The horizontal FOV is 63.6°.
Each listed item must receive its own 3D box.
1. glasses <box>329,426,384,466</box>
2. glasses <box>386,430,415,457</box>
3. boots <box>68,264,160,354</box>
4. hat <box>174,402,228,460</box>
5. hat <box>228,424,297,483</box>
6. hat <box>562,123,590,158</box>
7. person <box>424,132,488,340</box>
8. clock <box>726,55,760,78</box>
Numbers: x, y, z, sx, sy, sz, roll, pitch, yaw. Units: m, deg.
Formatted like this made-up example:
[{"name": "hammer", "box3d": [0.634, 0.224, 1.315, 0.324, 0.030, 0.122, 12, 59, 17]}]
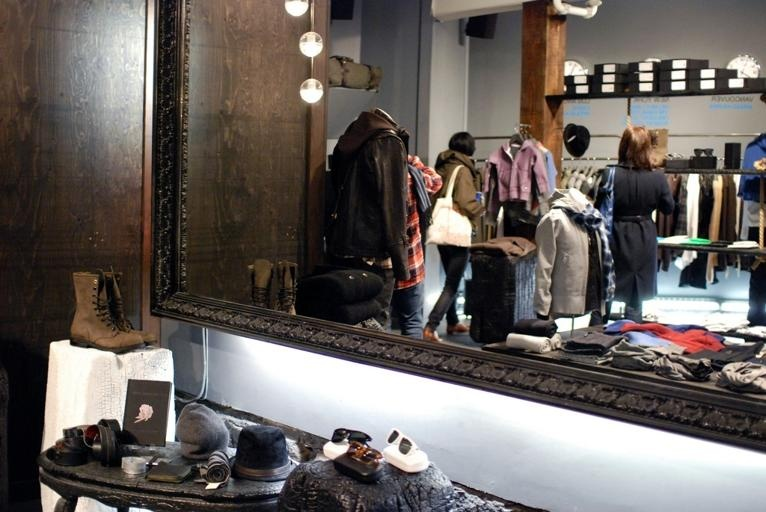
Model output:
[{"name": "glasses", "box3d": [-0.090, 0.664, 2.174, 0.074, 0.094, 0.246, 1, -5, -25]}, {"name": "glasses", "box3d": [0.066, 0.659, 2.145, 0.081, 0.045, 0.093, 13, -21, 43]}, {"name": "boots", "box3d": [-1.164, 0.254, 2.745, 0.449, 0.378, 0.227, 4, 4, 19]}, {"name": "hat", "box3d": [-0.724, 0.696, 2.446, 0.162, 0.210, 0.221, 3, -1, 32]}, {"name": "hat", "box3d": [-0.473, 0.739, 2.369, 0.249, 0.180, 0.337, 3, -6, 1]}, {"name": "hat", "box3d": [0.639, -0.375, 2.042, 0.086, 0.108, 0.040, -17, 15, -35]}, {"name": "person", "box3d": [0.250, -0.051, 2.216, 0.113, 0.745, 0.255, -1, 3, -24]}, {"name": "clock", "box3d": [1.125, -0.583, 1.913, 0.070, 0.073, 0.017, 8, 22, 41]}]
